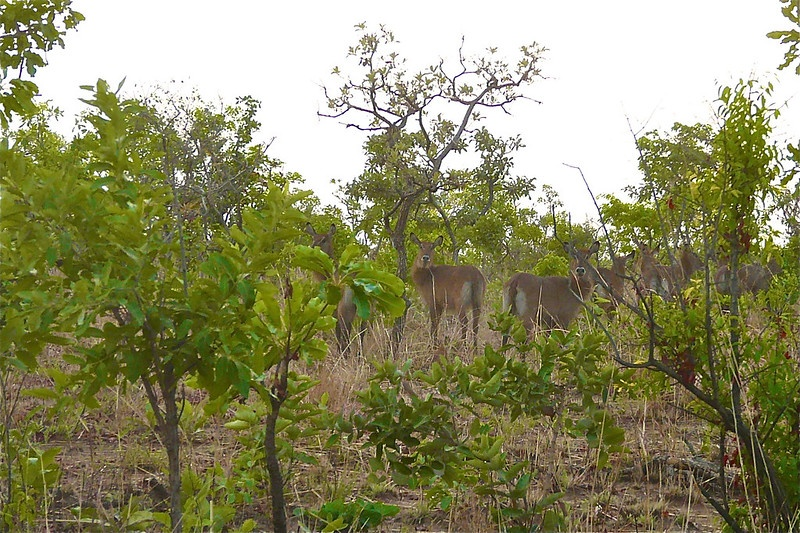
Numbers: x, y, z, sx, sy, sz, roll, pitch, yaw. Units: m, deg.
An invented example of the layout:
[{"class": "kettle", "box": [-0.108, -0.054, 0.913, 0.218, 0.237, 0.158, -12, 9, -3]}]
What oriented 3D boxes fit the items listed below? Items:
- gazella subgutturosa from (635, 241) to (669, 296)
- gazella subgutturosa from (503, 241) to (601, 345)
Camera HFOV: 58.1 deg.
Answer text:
[{"class": "gazella subgutturosa", "box": [4.785, -0.161, 13.872, 0.341, 1.111, 0.953, 15, -61, 22]}, {"class": "gazella subgutturosa", "box": [2.542, 0.511, 12.381, 1.642, 1.589, 0.583, -1, 11, -26]}]
